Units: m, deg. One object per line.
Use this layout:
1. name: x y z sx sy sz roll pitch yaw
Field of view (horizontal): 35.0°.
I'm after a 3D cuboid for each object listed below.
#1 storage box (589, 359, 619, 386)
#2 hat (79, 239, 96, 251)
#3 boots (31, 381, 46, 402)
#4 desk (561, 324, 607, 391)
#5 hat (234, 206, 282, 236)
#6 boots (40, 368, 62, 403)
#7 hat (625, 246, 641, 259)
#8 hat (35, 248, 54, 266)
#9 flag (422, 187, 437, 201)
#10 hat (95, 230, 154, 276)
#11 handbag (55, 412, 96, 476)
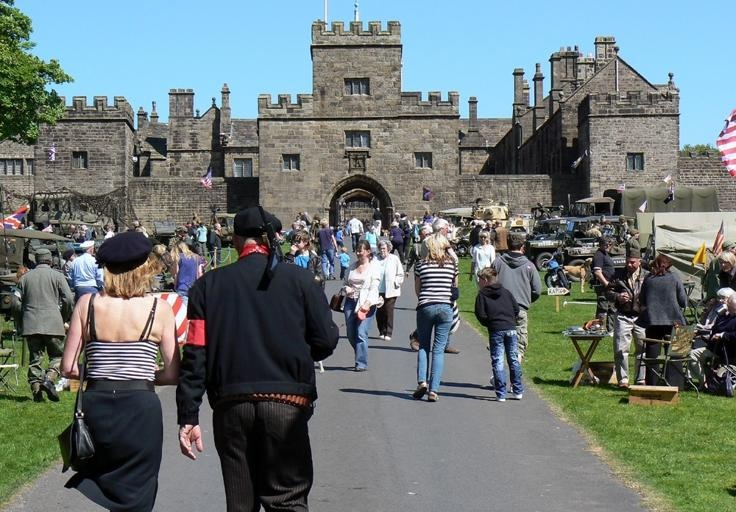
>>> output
1. storage box: 4.176 2.062 20.620 0.424 0.255 0.411 0 0 1
2. hat: -6.746 -0.266 28.269 0.442 0.207 0.536 0 -6 -13
3. boots: -5.480 2.277 19.502 0.203 0.341 0.136 -1 0 -9
4. desk: 3.810 1.778 20.602 0.986 1.074 1.094 0 1 6
5. hat: -1.273 -0.419 13.705 0.476 0.260 0.337 -5 6 -39
6. boots: -5.242 2.213 19.599 0.259 0.400 0.593 2 -24 11
7. hat: 4.578 -0.062 20.236 0.208 0.179 0.293 1 -3 19
8. hat: -5.705 0.021 20.628 0.268 0.307 0.338 1 8 1
9. flag: 3.089 -3.183 59.001 0.674 0.877 0.197 1 -3 -10
10. hat: -2.853 -0.052 13.760 0.628 0.465 0.295 -2 9 -10
11. handbag: -3.386 2.106 13.691 0.413 0.739 0.733 -7 -4 -21
